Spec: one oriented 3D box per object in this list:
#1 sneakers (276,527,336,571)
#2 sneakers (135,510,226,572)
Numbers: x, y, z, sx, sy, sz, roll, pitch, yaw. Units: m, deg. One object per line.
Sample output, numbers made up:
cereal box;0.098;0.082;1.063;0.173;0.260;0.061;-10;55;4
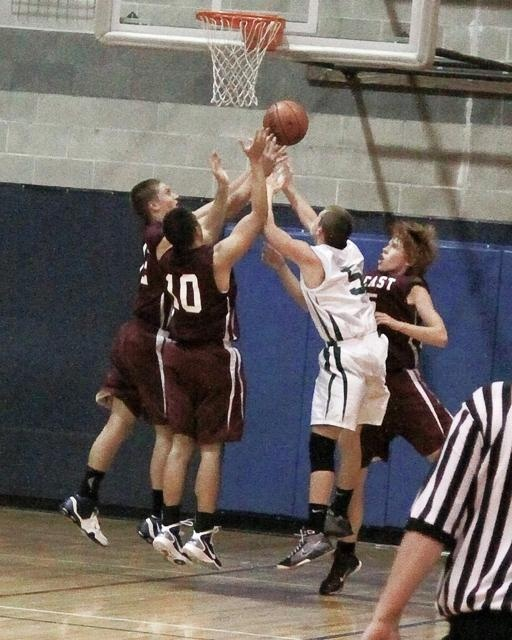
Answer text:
sneakers;0.224;0.981;3.613;0.195;0.173;0.217;5;-8;13
sneakers;-0.342;1.032;3.896;0.313;0.222;0.524;8;-8;-10
